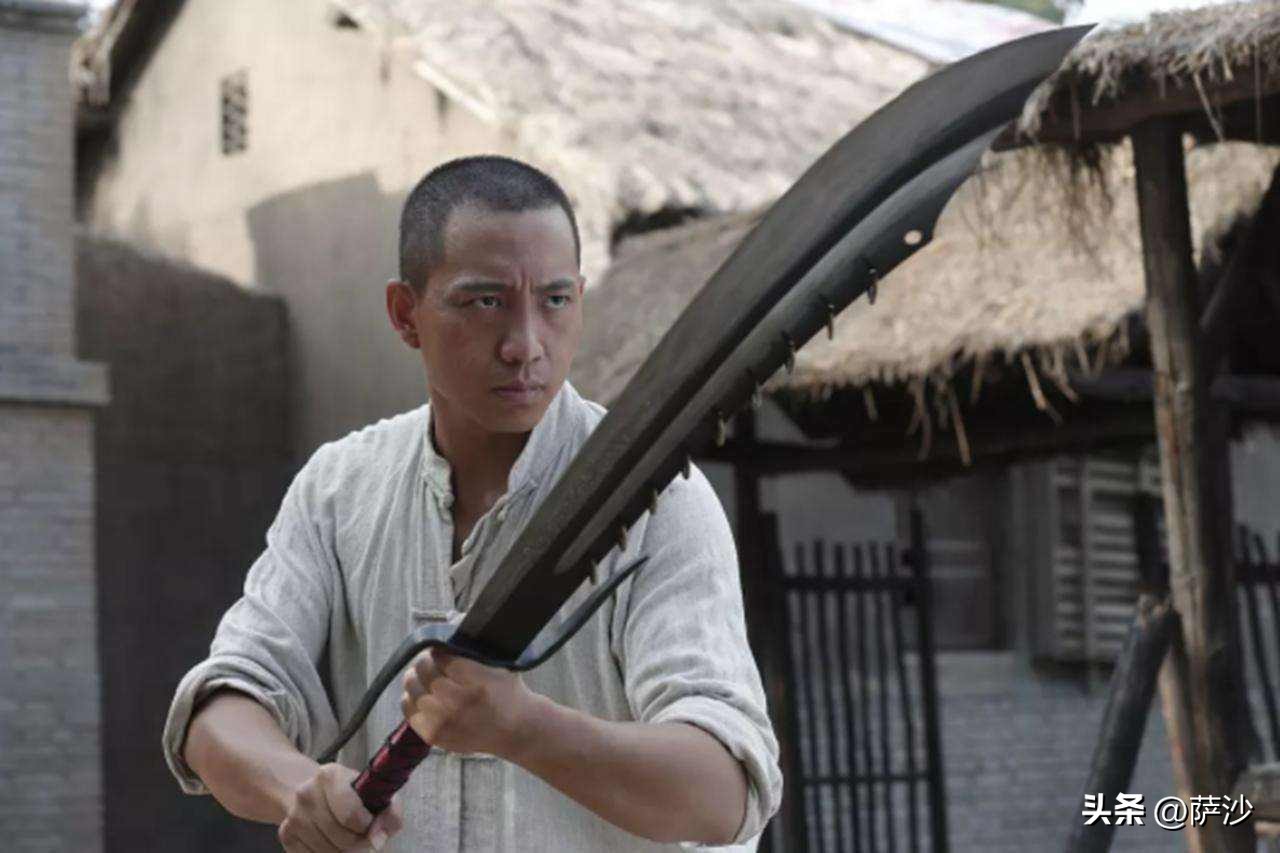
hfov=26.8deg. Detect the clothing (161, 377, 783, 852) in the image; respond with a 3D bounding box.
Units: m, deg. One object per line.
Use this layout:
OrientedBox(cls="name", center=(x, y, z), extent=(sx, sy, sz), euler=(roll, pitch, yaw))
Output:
OrientedBox(cls="clothing", center=(-0.509, 0.820, 11.235), extent=(2.364, 3.307, 1.708), euler=(1, -5, 12))
